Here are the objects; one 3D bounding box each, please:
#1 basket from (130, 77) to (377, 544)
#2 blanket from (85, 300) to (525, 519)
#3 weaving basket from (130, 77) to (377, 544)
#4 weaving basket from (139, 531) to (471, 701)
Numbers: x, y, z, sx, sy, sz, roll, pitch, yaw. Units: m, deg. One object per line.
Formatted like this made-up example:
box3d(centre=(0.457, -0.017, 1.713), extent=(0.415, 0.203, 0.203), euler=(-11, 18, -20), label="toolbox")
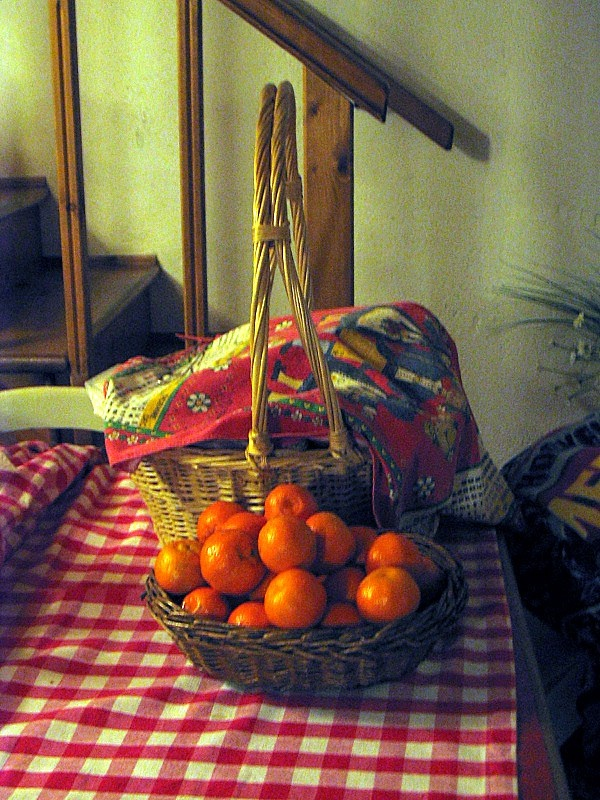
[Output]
box3d(centre=(-0.047, -0.095, 0.681), extent=(0.196, 0.406, 0.285), euler=(3, 14, -9), label="basket")
box3d(centre=(0.014, 0.008, 0.679), extent=(0.286, 0.101, 0.305), euler=(-7, 20, -7), label="blanket")
box3d(centre=(-0.038, -0.107, 0.695), extent=(0.213, 0.430, 0.307), euler=(3, 16, -5), label="weaving basket")
box3d(centre=(0.014, 0.171, 0.519), extent=(0.247, 0.084, 0.134), euler=(-6, 22, -15), label="weaving basket")
